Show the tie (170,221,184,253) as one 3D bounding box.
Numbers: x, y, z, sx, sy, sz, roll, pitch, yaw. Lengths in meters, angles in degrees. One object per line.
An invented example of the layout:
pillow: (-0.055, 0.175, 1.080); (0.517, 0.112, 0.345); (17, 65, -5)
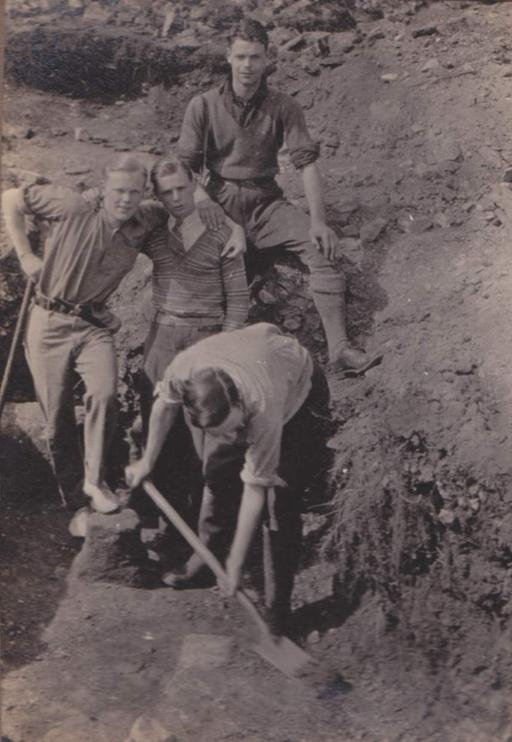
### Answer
tie: (-0.378, -0.637, 5.502); (0.096, 0.118, 0.044); (1, 4, -10)

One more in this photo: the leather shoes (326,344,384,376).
leather shoes: (0.462, -0.057, 5.436); (0.203, 0.084, 0.122); (-5, 51, 29)

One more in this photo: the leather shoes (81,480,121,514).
leather shoes: (-0.732, 0.595, 5.408); (0.188, 0.093, 0.094); (30, 43, 26)

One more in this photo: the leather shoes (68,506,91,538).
leather shoes: (-0.829, 0.710, 5.393); (0.102, 0.125, 0.039); (22, 6, 2)

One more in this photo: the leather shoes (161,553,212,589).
leather shoes: (-0.311, 0.940, 5.350); (0.281, 0.188, 0.091); (3, -7, -3)
